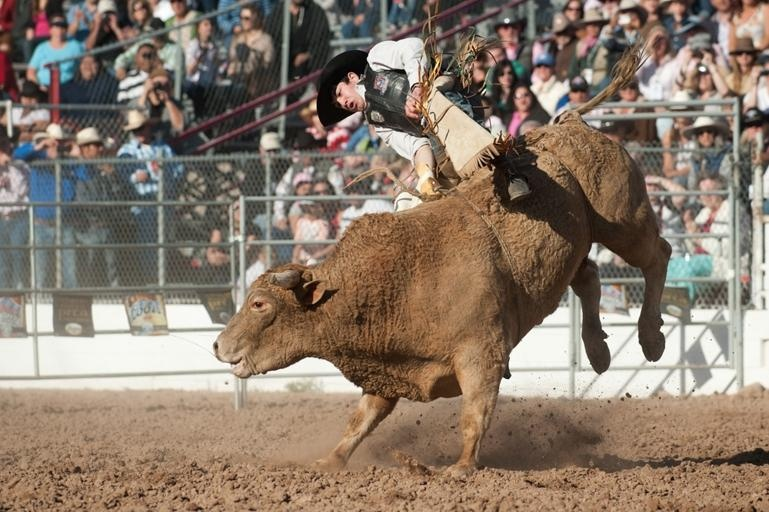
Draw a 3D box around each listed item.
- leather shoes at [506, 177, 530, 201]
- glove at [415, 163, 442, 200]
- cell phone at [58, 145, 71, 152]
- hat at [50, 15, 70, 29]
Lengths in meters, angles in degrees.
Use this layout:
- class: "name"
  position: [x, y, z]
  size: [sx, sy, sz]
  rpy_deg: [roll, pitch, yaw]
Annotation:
- class: "leather shoes"
  position: [1.650, -0.845, 22.482]
  size: [0.292, 0.297, 0.257]
  rpy_deg: [-15, -7, 23]
- class: "glove"
  position: [0.519, -0.943, 23.080]
  size: [0.371, 0.218, 0.530]
  rpy_deg: [-20, -2, -7]
- class: "cell phone"
  position: [-5.042, -1.633, 27.481]
  size: [0.113, 0.111, 0.045]
  rpy_deg: [-16, 20, -13]
- class: "hat"
  position: [-5.363, -3.735, 28.695]
  size: [0.188, 0.226, 0.243]
  rpy_deg: [-7, -19, -1]
